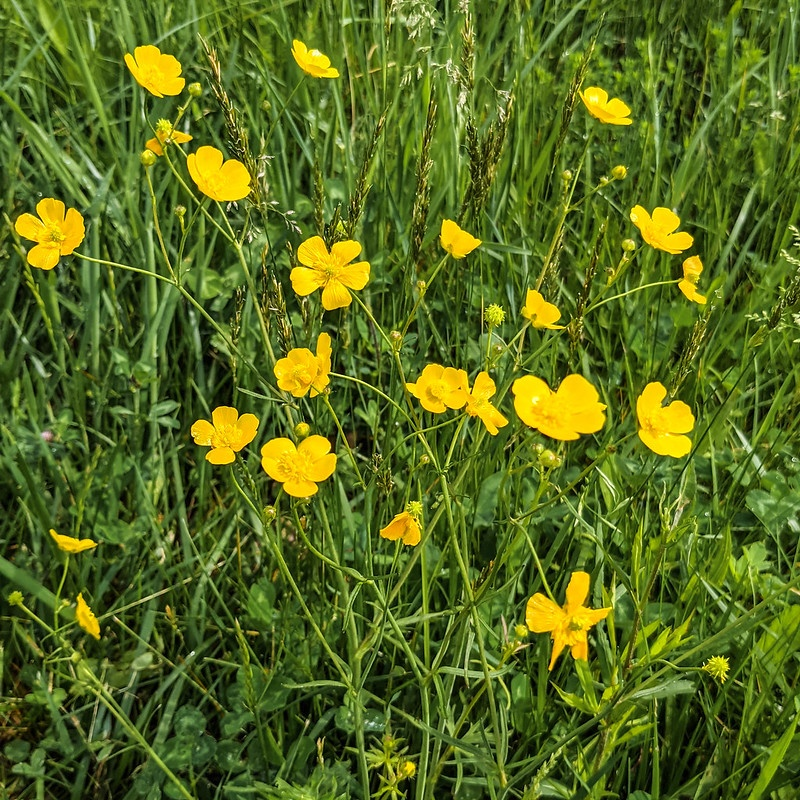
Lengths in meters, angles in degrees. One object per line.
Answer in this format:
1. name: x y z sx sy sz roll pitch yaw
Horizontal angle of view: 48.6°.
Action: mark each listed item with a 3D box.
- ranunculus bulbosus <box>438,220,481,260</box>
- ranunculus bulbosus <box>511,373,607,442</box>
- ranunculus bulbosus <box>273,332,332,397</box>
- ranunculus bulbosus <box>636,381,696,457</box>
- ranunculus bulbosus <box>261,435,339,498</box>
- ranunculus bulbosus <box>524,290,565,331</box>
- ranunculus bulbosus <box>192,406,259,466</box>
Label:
1. ranunculus bulbosus: 0.118 -0.347 1.781 0.056 0.073 0.085 -52 36 17
2. ranunculus bulbosus: 0.272 0.014 1.531 0.114 0.046 0.128 32 50 5
3. ranunculus bulbosus: -0.175 -0.050 1.612 0.086 0.055 0.127 -26 70 10
4. ranunculus bulbosus: 0.488 0.041 1.644 0.102 0.048 0.161 4 76 -29
5. ranunculus bulbosus: -0.181 0.116 1.598 0.095 0.049 0.129 15 62 6
6. ranunculus bulbosus: 0.271 -0.151 1.683 0.065 0.047 0.081 23 62 -14
7. ranunculus bulbosus: -0.322 0.073 1.620 0.097 0.050 0.111 -25 56 -11
